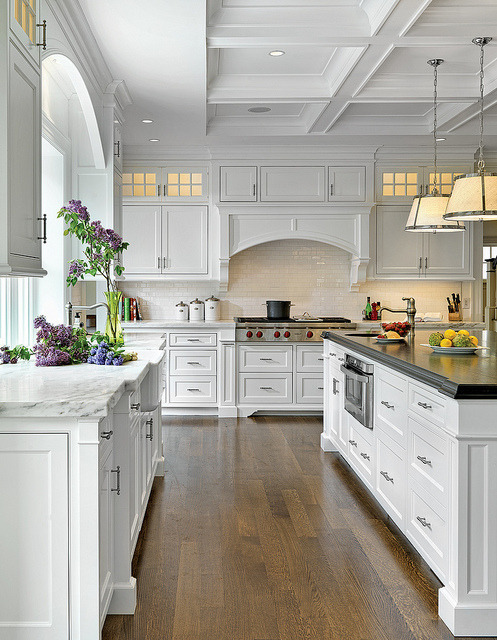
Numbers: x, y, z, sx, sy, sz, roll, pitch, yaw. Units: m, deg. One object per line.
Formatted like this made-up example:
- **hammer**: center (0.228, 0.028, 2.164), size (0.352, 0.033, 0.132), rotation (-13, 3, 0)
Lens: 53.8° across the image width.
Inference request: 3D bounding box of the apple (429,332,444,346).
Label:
- **apple**: center (1.058, 0.101, 2.776), size (0.066, 0.081, 0.072), rotation (4, 6, 12)

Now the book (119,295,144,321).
- **book**: center (-1.337, -0.118, 5.602), size (0.217, 0.440, 0.346), rotation (0, -2, -4)

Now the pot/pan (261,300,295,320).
- **pot/pan**: center (0.324, -0.114, 5.502), size (0.286, 0.171, 0.186), rotation (0, -3, -1)

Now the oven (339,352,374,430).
- **oven**: center (0.768, 0.448, 3.189), size (0.227, 0.406, 0.469), rotation (-2, 4, -8)

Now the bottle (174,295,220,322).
- **bottle**: center (-0.574, -0.116, 5.444), size (0.485, 0.269, 0.340), rotation (0, -1, -3)

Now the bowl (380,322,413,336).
- **bowl**: center (1.022, 0.062, 3.380), size (0.190, 0.107, 0.266), rotation (0, -1, 17)

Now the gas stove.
- **gas stove**: center (0.472, 0.109, 5.315), size (1.223, 0.252, 0.370), rotation (0, -1, 5)

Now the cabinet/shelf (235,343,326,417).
- **cabinet/shelf**: center (0.317, 0.600, 5.248), size (0.763, 0.691, 0.285), rotation (0, -1, -2)

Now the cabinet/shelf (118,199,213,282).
- **cabinet/shelf**: center (-0.946, -0.913, 5.384), size (0.970, 0.891, 0.385), rotation (0, -3, -2)

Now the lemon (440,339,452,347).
- **lemon**: center (1.079, 0.127, 2.672), size (0.043, 0.046, 0.044), rotation (-2, 28, 0)

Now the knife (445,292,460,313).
- **knife**: center (2.438, -0.210, 5.805), size (0.166, 0.234, 0.096), rotation (0, -1, 11)

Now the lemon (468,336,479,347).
- **lemon**: center (1.265, 0.119, 2.757), size (0.048, 0.053, 0.061), rotation (-9, -10, 19)

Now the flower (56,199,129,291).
- **flower**: center (-0.970, -0.449, 3.008), size (0.380, 0.547, 0.847), rotation (1, -1, -21)

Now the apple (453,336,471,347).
- **apple**: center (1.161, 0.100, 2.649), size (0.059, 0.043, 0.075), rotation (-2, 29, 16)
